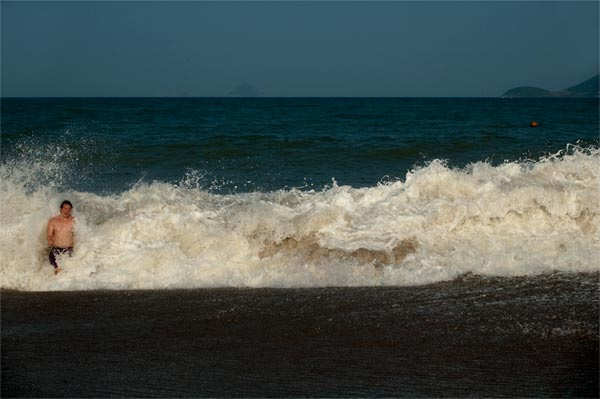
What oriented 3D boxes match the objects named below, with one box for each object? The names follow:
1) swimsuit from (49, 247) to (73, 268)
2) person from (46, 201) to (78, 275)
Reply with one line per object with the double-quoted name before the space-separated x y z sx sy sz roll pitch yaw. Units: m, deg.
"swimsuit" -4.611 1.109 14.960 0.433 0.377 0.396 0 -5 -17
"person" -4.616 0.724 15.038 0.602 1.272 0.835 -4 11 -11
